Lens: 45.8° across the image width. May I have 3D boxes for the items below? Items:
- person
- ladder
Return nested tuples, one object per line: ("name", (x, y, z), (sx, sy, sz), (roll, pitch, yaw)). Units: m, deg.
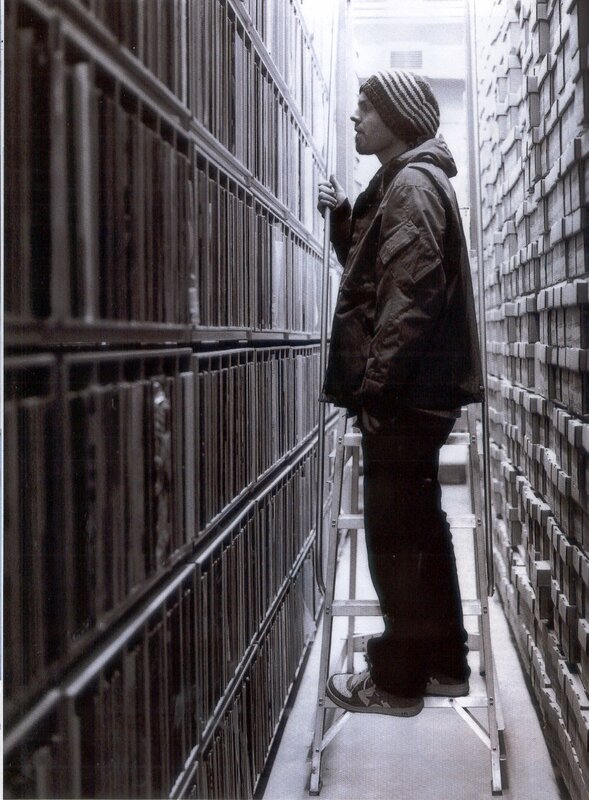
("person", (0.243, 0.021, 1.594), (0.353, 1.371, 0.459), (-1, -9, 2))
("ladder", (0.311, 0.110, 2.170), (0.384, 1.594, 1.316), (0, -3, 5))
